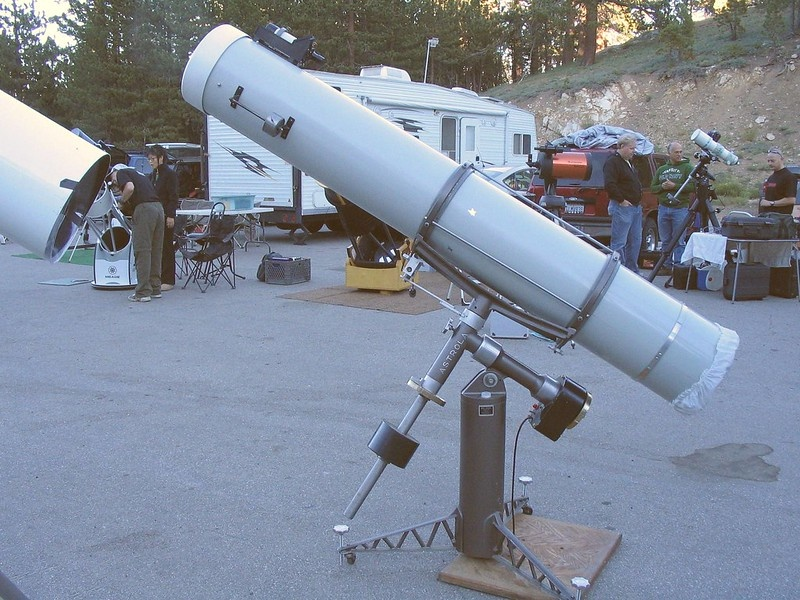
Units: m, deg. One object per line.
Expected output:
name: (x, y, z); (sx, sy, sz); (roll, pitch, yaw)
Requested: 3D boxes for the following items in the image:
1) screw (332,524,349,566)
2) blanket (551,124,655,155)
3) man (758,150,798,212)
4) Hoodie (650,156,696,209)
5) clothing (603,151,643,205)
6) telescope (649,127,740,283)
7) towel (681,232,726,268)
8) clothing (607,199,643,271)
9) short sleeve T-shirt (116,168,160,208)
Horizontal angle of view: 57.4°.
screw: (-0.301, 1.316, 3.898); (0.100, 0.188, 0.086); (0, -30, -27)
blanket: (3.961, -3.101, 14.017); (1.867, 0.564, 1.858); (0, 15, -3)
man: (5.555, -1.702, 10.618); (0.447, 0.959, 0.917); (7, 15, 25)
Hoodie: (4.276, -1.829, 11.416); (0.648, 0.761, 0.503); (12, 10, 40)
clothing: (3.230, -1.699, 10.471); (0.509, 0.827, 0.833); (3, 4, 42)
telescope: (4.335, -1.460, 10.515); (1.056, 1.909, 1.008); (7, 16, 14)
towel: (4.327, -0.702, 10.295); (0.500, 0.289, 0.503); (12, 22, 26)
clothing: (3.249, -0.923, 10.483); (0.510, 1.175, 0.361); (-1, 3, -27)
short sleeve T-shirt: (-3.418, -1.447, 9.422); (0.505, 0.493, 0.424); (-4, 14, -18)
